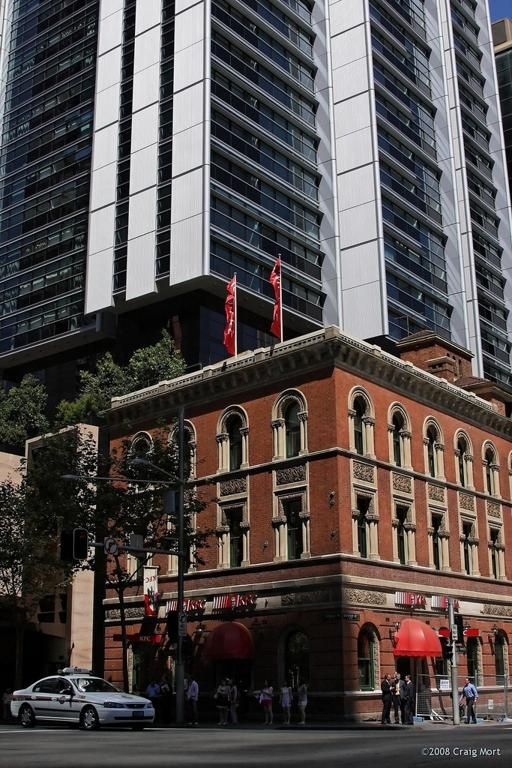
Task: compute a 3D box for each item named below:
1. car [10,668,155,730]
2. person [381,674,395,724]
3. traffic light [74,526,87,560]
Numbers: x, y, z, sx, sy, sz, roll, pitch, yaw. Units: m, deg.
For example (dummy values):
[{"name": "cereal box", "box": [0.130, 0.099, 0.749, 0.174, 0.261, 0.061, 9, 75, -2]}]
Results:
[{"name": "car", "box": [-4.671, 8.437, 24.503, 3.763, 1.323, 1.653, -20, -36, 33]}, {"name": "person", "box": [4.440, 10.704, 31.278, 0.410, 1.518, 1.081, -2, -19, 7]}, {"name": "traffic light", "box": [-4.747, 4.317, 24.921, 0.326, 0.792, 0.643, 1, -19, -3]}]
